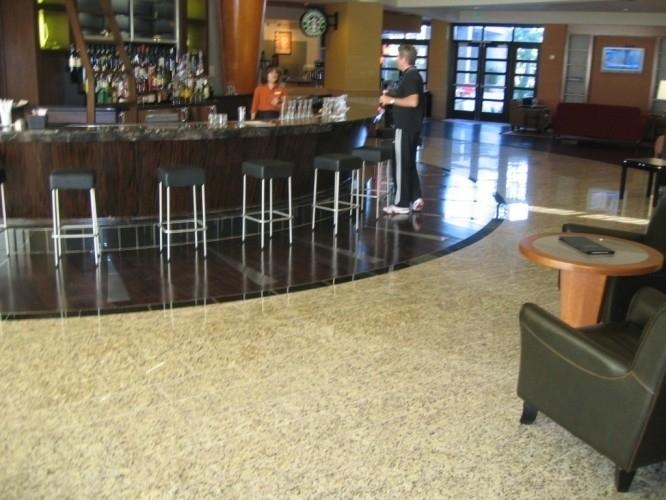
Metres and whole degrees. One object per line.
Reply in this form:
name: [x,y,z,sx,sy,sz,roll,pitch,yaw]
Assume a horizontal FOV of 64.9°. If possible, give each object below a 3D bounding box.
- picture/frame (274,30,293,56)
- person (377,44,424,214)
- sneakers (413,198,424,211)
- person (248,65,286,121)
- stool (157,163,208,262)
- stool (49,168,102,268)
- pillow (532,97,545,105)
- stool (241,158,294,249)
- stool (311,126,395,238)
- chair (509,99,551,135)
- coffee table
picture/frame: [-1.622,-6.909,17.349,0.693,0.731,0.205,-13,20,-37]
person: [0.930,-1.571,7.001,0.576,2.195,0.404,1,16,6]
sneakers: [1.212,-0.635,7.449,0.150,0.210,0.081,12,-1,9]
person: [-1.022,-2.488,8.246,0.523,0.772,2.001,-3,16,-7]
stool: [-1.642,-0.469,5.687,0.555,0.916,0.863,-5,17,-15]
stool: [-2.611,-0.358,5.276,0.485,0.911,0.843,-9,18,-26]
pillow: [6.557,-4.785,16.671,0.252,0.244,0.254,11,21,27]
stool: [-0.782,-0.602,6.109,0.620,0.937,1.037,-2,16,-4]
stool: [0.243,-0.910,7.083,0.415,0.848,1.618,12,24,20]
chair: [6.417,-4.328,16.792,1.151,1.208,1.550,9,21,29]
coffee table: [1.646,0.143,3.337,0.746,0.522,0.730,-14,21,-43]
